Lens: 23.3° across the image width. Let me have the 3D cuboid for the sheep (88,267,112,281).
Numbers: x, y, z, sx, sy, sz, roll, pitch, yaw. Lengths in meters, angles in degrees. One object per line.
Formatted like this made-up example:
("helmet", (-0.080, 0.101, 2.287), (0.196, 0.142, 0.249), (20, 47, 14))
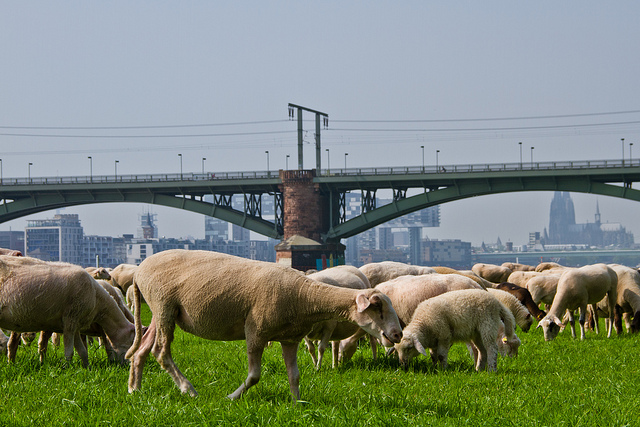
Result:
("sheep", (-9.949, 2.578, 67.987), (1.387, 0.751, 0.539), (-3, -1, 35))

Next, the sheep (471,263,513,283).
("sheep", (8.635, 3.007, 78.409), (1.983, 1.390, 0.996), (3, 11, -2))

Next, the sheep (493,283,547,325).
("sheep", (8.461, 3.825, 65.673), (1.995, 1.061, 0.587), (34, 32, 13))

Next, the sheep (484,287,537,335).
("sheep", (7.728, 4.029, 63.530), (1.966, 0.528, 1.069), (39, -49, -13))
